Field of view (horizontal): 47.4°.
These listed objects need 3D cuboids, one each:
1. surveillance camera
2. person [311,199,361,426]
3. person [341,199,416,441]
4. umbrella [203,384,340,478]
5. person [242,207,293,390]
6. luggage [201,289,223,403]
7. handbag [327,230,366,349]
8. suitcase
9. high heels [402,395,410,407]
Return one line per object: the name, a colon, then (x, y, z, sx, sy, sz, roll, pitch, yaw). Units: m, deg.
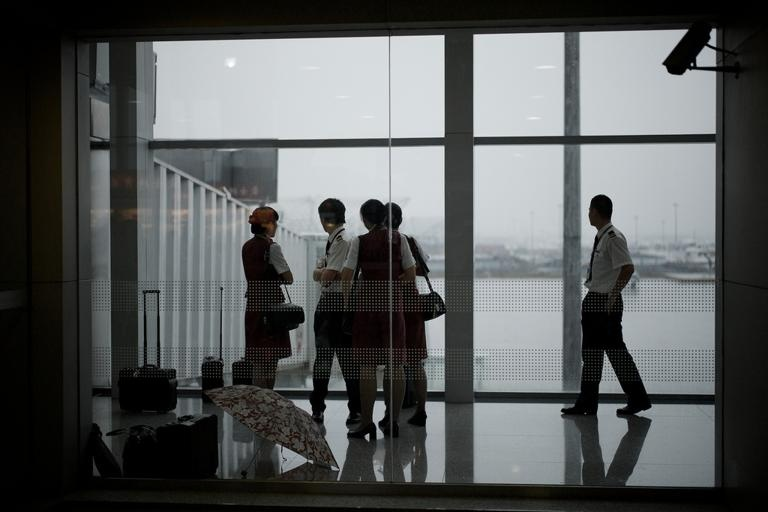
surveillance camera: (2.401, -1.571, 6.673, 0.527, 0.602, 0.322, 12, 20, 12)
person: (-0.400, 0.451, 7.068, 0.442, 1.877, 0.451, 3, -2, -36)
person: (-0.018, 0.531, 7.087, 0.573, 1.957, 0.583, 1, -15, -4)
umbrella: (-0.860, 1.227, 6.666, 0.698, 0.268, 0.718, 28, -17, 30)
person: (-0.937, 0.329, 7.064, 0.328, 1.391, 0.462, 5, 7, 1)
luggage: (-1.319, 0.748, 6.966, 0.112, 0.817, 0.246, 0, 7, -1)
handbag: (-0.300, 0.255, 6.901, 0.197, 0.846, 0.309, 4, 8, 12)
suitcase: (-1.717, 1.522, 6.907, 0.773, 0.496, 0.613, 9, 6, 32)
high heels: (0.184, 1.144, 6.910, 0.063, 0.116, 0.068, 1, -1, -15)
